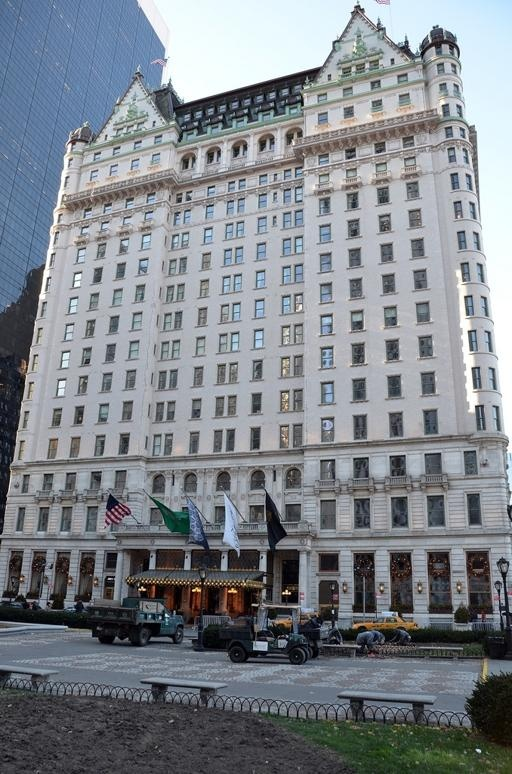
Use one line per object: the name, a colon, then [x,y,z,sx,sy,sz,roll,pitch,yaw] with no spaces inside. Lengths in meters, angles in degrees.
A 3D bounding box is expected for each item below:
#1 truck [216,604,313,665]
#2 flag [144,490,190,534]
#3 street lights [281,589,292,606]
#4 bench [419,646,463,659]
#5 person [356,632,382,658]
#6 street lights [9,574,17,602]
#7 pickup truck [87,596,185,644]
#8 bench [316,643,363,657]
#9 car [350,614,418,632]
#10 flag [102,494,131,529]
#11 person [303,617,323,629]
truck: [0.591,9.497,25.233,2.822,2.088,4.388,-2,-20,14]
flag: [-6.945,9.670,50.687,3.296,1.138,7.753,34,-8,20]
street lights: [2.219,15.656,48.920,0.707,0.936,0.317,3,-20,-1]
bench: [8.685,12.505,30.772,2.114,0.384,5.274,-3,-20,16]
person: [5.609,12.158,31.030,1.081,1.025,2.769,-6,-21,23]
street lights: [-22.396,18.451,59.630,0.681,2.046,0.457,0,-56,-16]
pickup truck: [-5.511,11.387,31.709,2.423,2.082,6.295,-7,-22,25]
bench: [3.753,11.943,29.553,1.527,0.341,1.506,-1,-14,9]
car: [7.636,13.758,38.119,3.076,0.997,4.218,-4,-21,20]
flag: [-9.369,8.099,43.507,1.231,1.904,2.378,8,-20,-13]
person: [2.379,10.070,27.836,0.816,0.431,1.129,0,-17,2]
